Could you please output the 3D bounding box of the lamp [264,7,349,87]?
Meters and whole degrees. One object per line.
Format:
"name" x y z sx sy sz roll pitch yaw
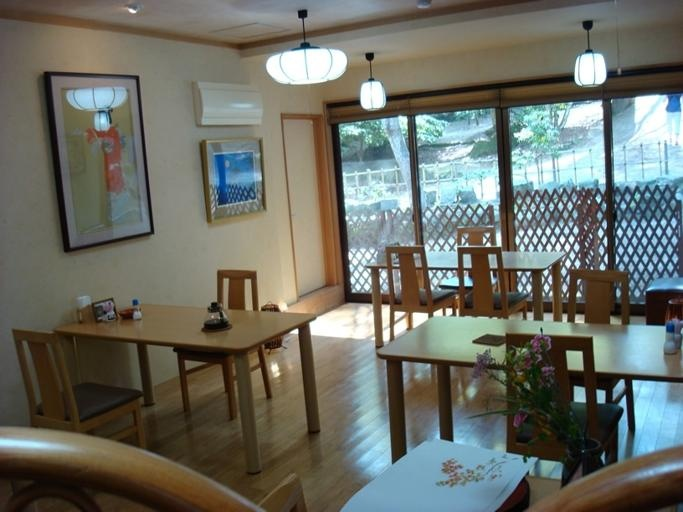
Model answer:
"lamp" -0.245 -1.417 3.715 0.488 0.500 0.533 -4 10 8

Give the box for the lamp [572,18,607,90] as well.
"lamp" 2.059 -1.686 4.664 0.257 0.615 0.262 -1 -7 21

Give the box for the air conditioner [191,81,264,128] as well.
"air conditioner" -1.038 -1.414 5.235 0.112 0.392 0.716 11 18 40

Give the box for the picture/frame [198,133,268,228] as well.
"picture/frame" -1.001 -0.751 5.310 0.067 0.745 0.755 5 13 34

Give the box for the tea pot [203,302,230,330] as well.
"tea pot" -0.805 0.374 3.590 0.165 0.152 0.148 -1 5 -29
